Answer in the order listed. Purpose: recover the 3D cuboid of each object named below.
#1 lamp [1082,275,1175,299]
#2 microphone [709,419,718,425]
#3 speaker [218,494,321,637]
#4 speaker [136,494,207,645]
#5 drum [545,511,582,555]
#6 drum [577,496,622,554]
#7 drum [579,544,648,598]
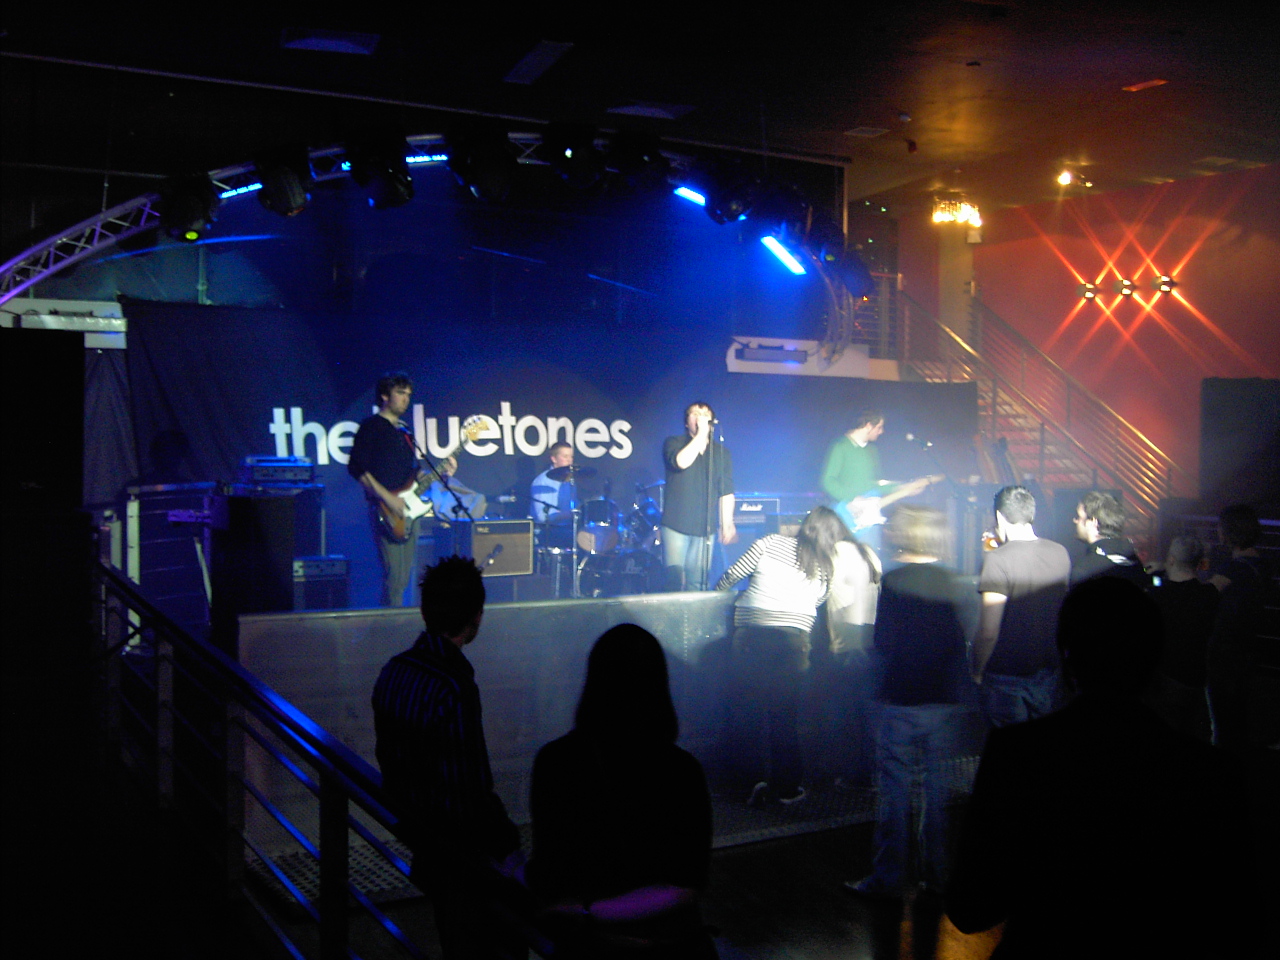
[{"bbox_3d":[6.669,-2.631,14.621,0.345,0.301,1.259,-1,4,-28],"label":"lamp"},{"bbox_3d":[0.553,-0.421,7.857,0.040,0.042,0.022,2,-7,-17],"label":"microphone"},{"bbox_3d":[-2.195,0.525,6.126,0.439,0.904,0.308,0,4,-24],"label":"speaker"},{"bbox_3d":[-3.830,0.642,9.013,0.394,1.204,1.026,1,4,3],"label":"speaker"},{"bbox_3d":[-0.746,0.477,9.961,0.371,0.352,0.132,1,3,-7],"label":"drum"},{"bbox_3d":[-0.384,0.439,10.059,0.422,0.527,0.322,0,4,-14],"label":"drum"},{"bbox_3d":[-0.216,0.825,10.062,0.728,0.390,0.520,-2,5,-41],"label":"drum"}]
